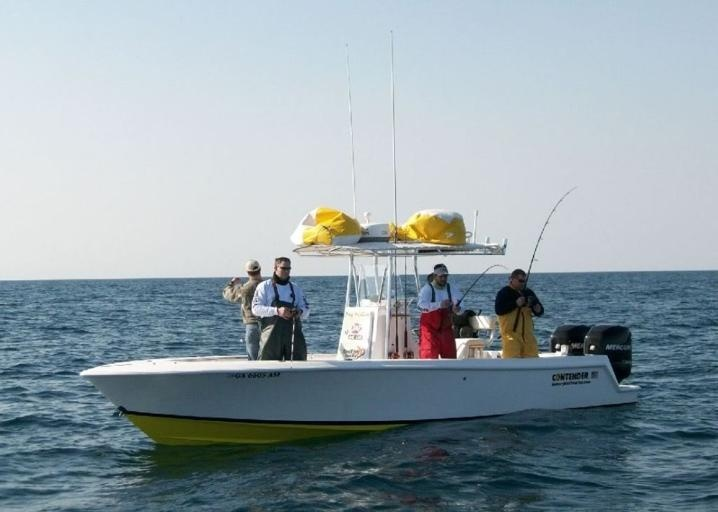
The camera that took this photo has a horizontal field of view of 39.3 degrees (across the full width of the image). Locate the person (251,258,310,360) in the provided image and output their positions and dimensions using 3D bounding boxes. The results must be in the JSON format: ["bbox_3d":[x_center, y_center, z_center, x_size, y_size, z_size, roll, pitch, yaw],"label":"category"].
[{"bbox_3d":[-1.288,0.891,16.350,0.918,1.753,0.750,-2,8,-6],"label":"person"}]

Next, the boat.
[{"bbox_3d":[0.431,0.735,17.852,9.844,4.848,3.138,-2,3,-17],"label":"boat"}]

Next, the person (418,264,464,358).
[{"bbox_3d":[1.388,1.030,17.081,0.724,1.770,0.776,0,-1,1],"label":"person"}]

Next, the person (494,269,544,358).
[{"bbox_3d":[2.784,1.277,17.419,0.855,1.987,0.624,0,0,-10],"label":"person"}]
